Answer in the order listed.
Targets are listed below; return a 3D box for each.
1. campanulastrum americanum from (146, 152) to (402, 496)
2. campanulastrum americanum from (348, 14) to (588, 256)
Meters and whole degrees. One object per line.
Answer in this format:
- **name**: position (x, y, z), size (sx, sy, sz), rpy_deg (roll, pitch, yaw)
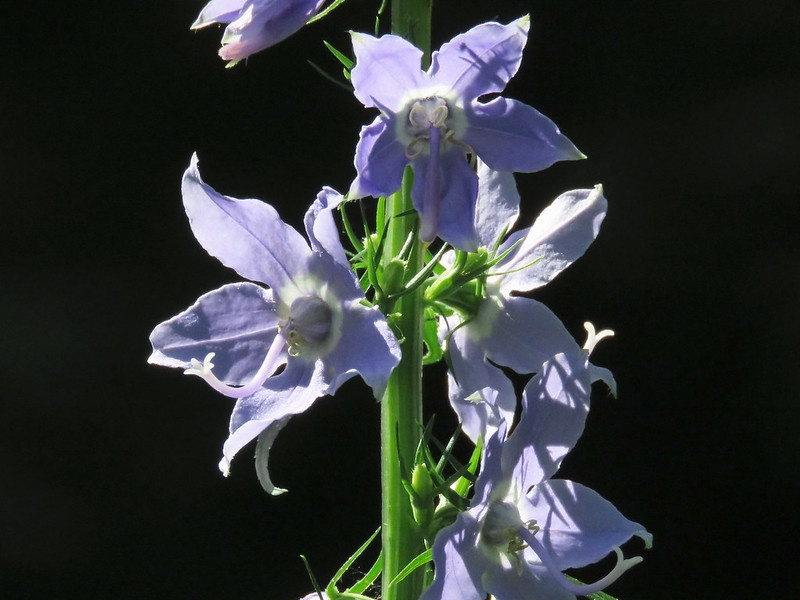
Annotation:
- **campanulastrum americanum**: position (-0.160, 0.027, 1.269), size (0.313, 0.349, 0.216), rpy_deg (3, -22, -3)
- **campanulastrum americanum**: position (0.073, -0.199, 1.266), size (0.282, 0.316, 0.082), rpy_deg (29, 9, -6)
